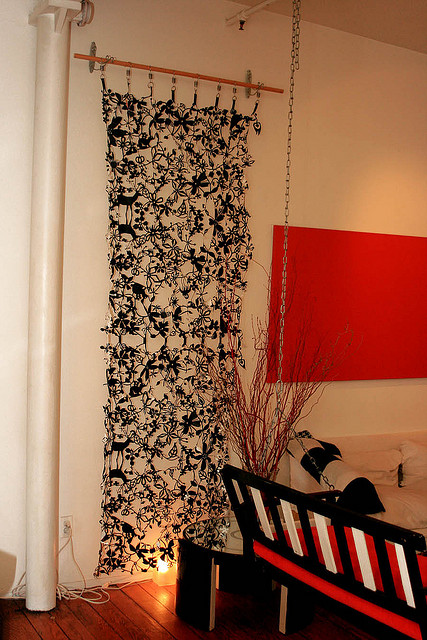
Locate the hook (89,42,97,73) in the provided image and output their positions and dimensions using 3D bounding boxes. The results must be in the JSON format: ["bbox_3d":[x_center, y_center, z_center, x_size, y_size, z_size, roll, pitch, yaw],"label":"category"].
[{"bbox_3d":[-0.653,-1.431,2.922,0.037,0.176,0.092,3,-6,-14],"label":"hook"}]

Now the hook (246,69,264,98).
[{"bbox_3d":[0.260,-1.511,3.407,0.093,0.205,0.131,3,-6,-12],"label":"hook"}]
